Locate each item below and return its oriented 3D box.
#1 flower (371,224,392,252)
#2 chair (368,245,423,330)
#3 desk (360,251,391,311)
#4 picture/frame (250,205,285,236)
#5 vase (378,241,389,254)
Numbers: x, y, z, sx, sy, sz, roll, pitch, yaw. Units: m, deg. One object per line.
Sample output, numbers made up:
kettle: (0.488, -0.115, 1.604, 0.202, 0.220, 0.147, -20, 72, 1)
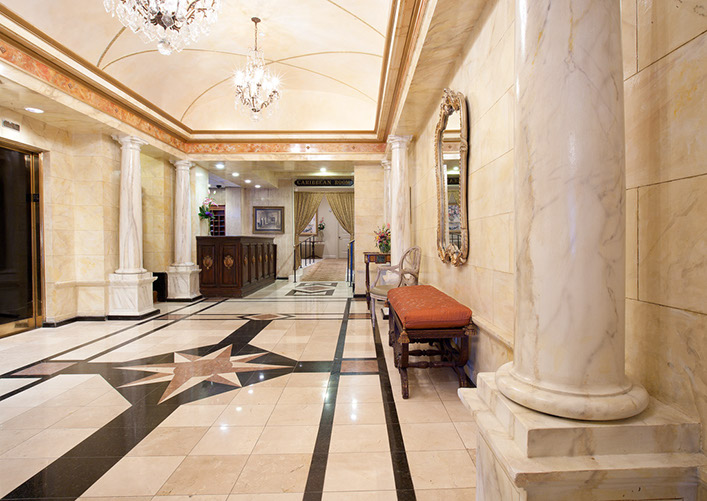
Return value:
flower: (0.516, -0.194, 8.427, 0.382, 0.505, 0.431, 0, -1, 18)
chair: (0.516, 0.446, 6.385, 0.668, 0.991, 0.720, 2, 4, -12)
desk: (0.318, 0.416, 8.186, 0.707, 0.939, 0.712, -1, 17, -2)
picture/frame: (-2.458, -0.821, 13.807, 0.833, 0.727, 0.095, 0, -2, 1)
vase: (0.521, -0.049, 8.281, 0.180, 0.183, 0.156, 19, 3, 41)
